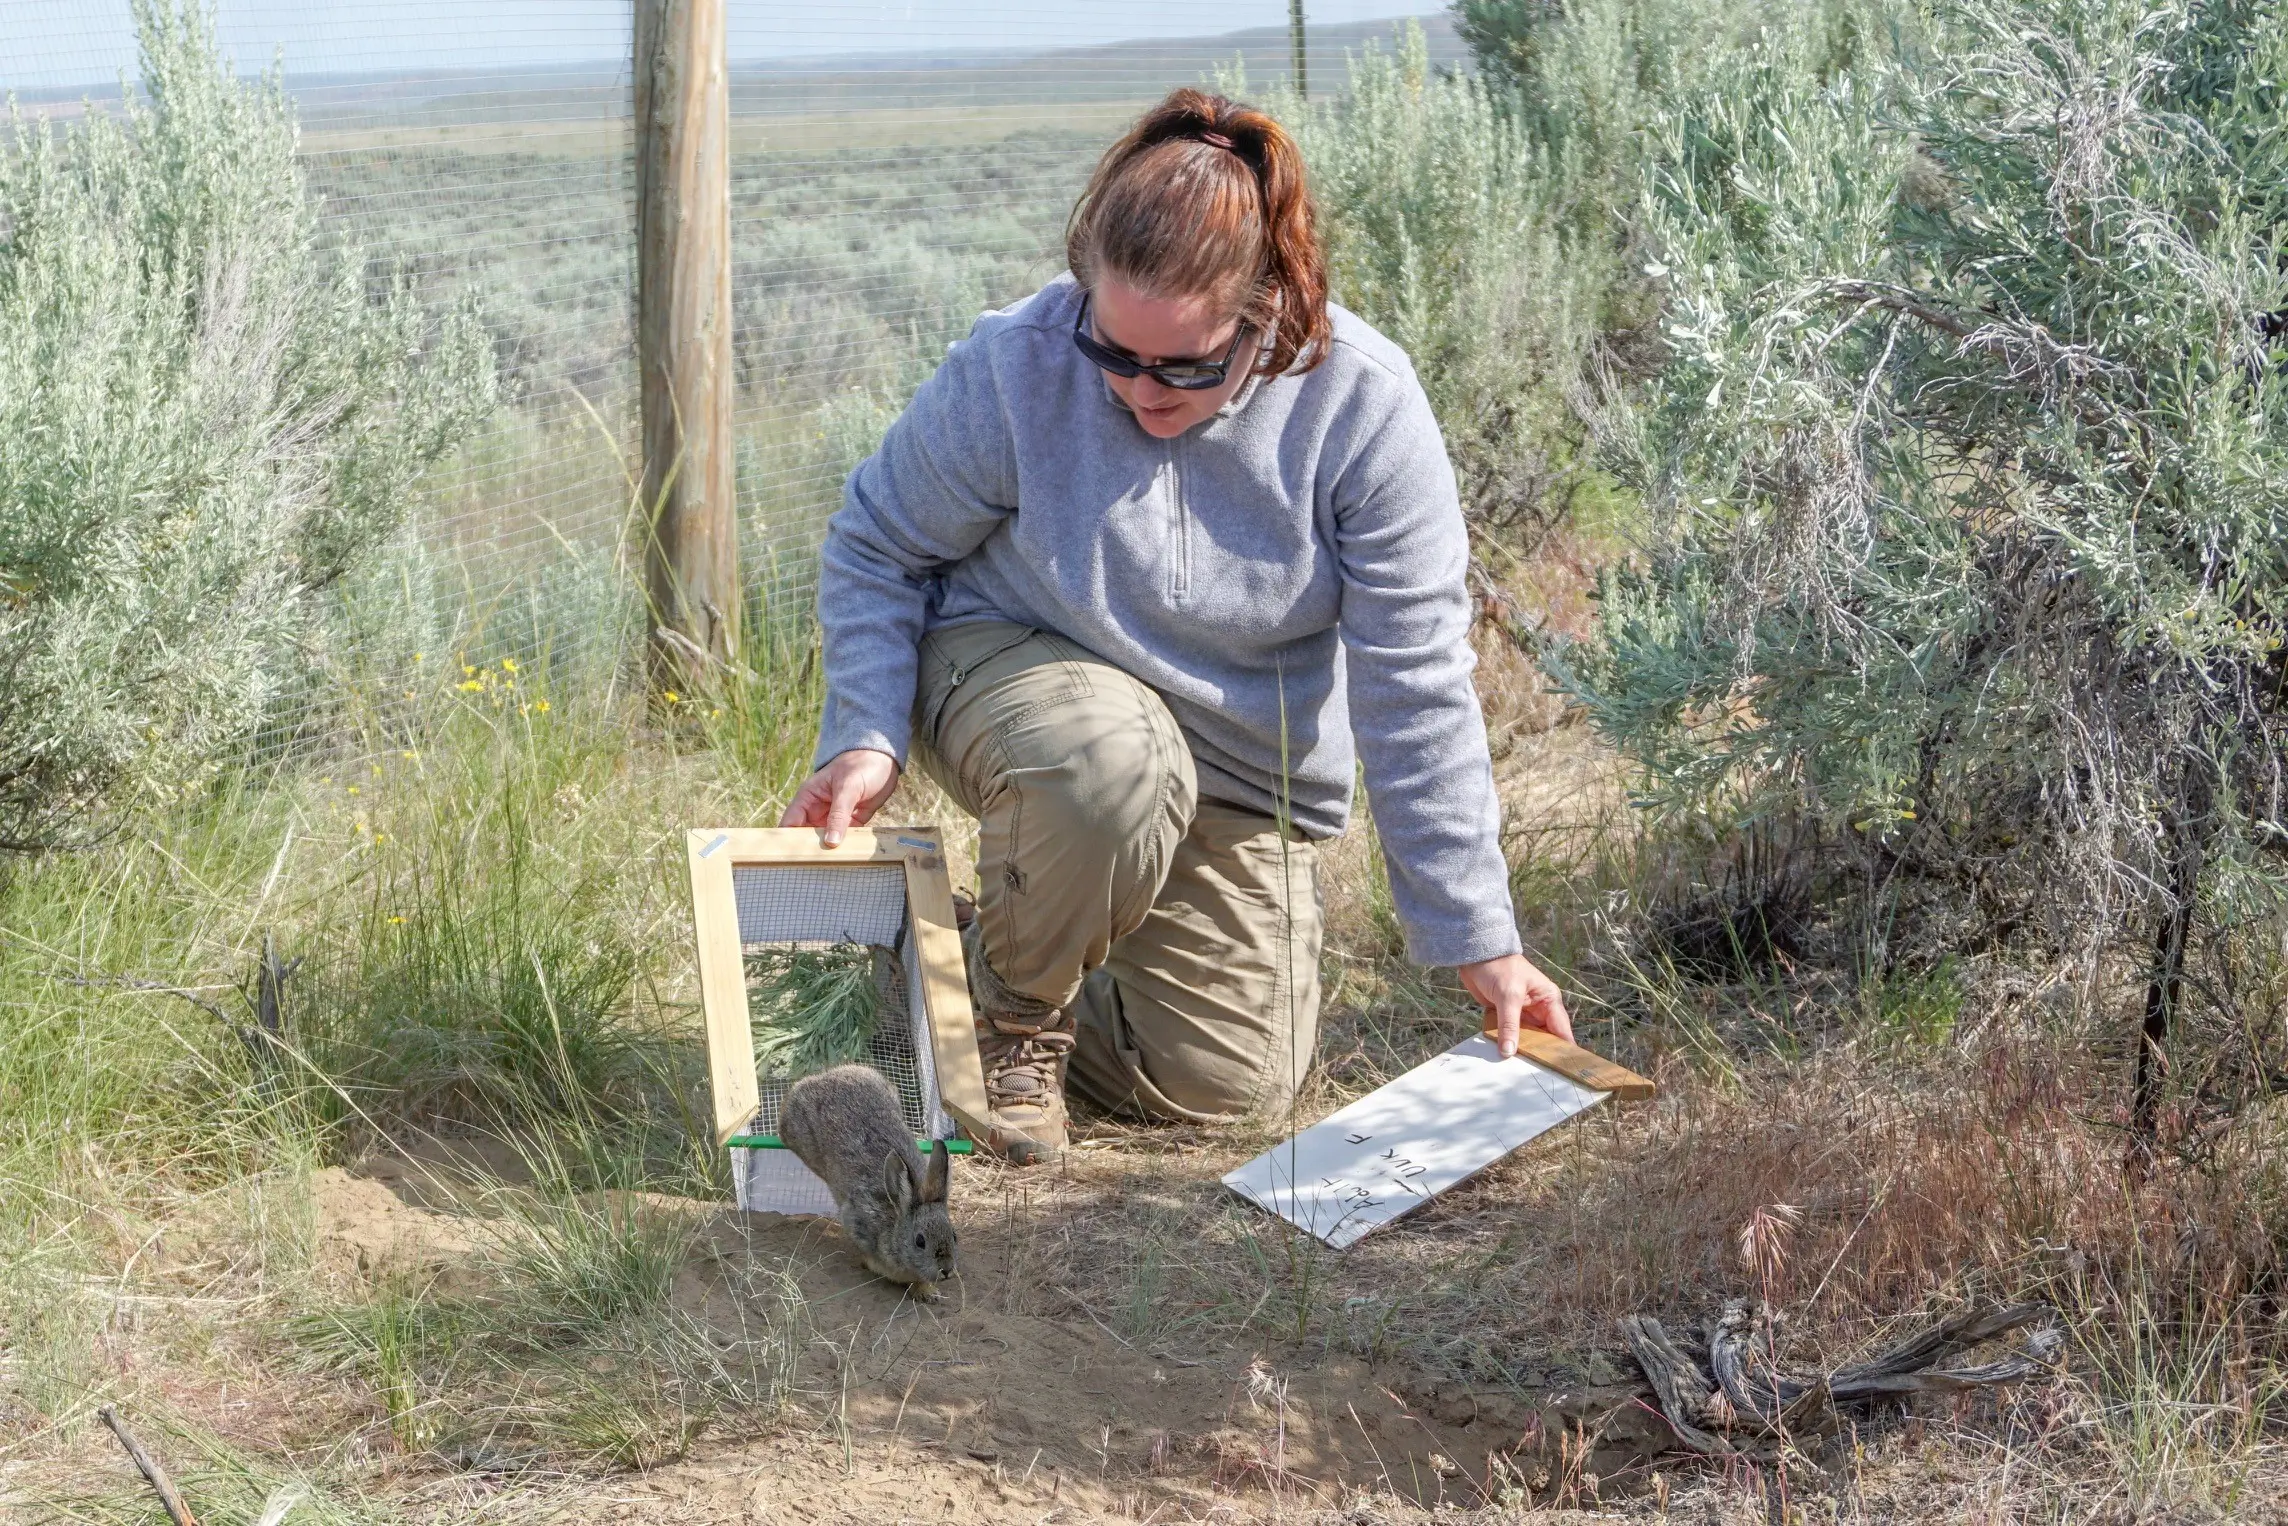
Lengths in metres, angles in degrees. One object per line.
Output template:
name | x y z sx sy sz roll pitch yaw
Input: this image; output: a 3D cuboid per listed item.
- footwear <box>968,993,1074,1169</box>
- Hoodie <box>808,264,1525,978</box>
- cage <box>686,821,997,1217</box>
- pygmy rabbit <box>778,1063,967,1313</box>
footwear | -0.279 0.779 5.660 0.205 0.311 0.498 -4 11 -17
Hoodie | 0.034 -0.281 5.581 1.510 1.488 0.940 8 29 2
cage | -0.722 0.566 5.274 0.576 0.981 0.356 -3 -17 -26
pygmy rabbit | -0.564 0.922 5.009 0.471 0.465 0.223 4 10 38
